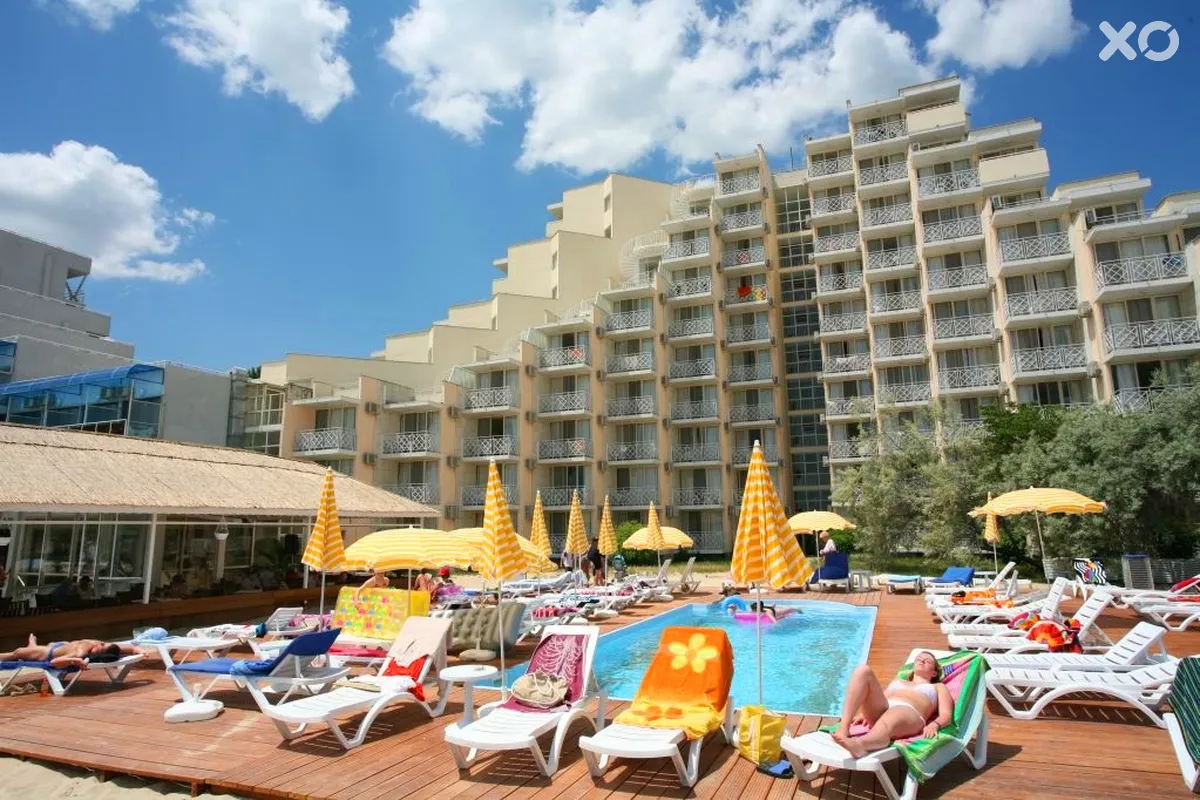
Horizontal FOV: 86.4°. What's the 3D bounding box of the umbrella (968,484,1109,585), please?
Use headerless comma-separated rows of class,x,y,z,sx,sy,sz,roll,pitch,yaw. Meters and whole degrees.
umbrella,15.747,4.790,22.824,4.027,3.092,3.878,-3,-24,10

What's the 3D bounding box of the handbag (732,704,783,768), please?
handbag,2.244,4.823,9.138,0.820,0.747,0.617,6,-6,-40

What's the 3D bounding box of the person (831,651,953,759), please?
person,3.907,4.142,8.645,1.742,1.028,0.432,1,-12,-15
